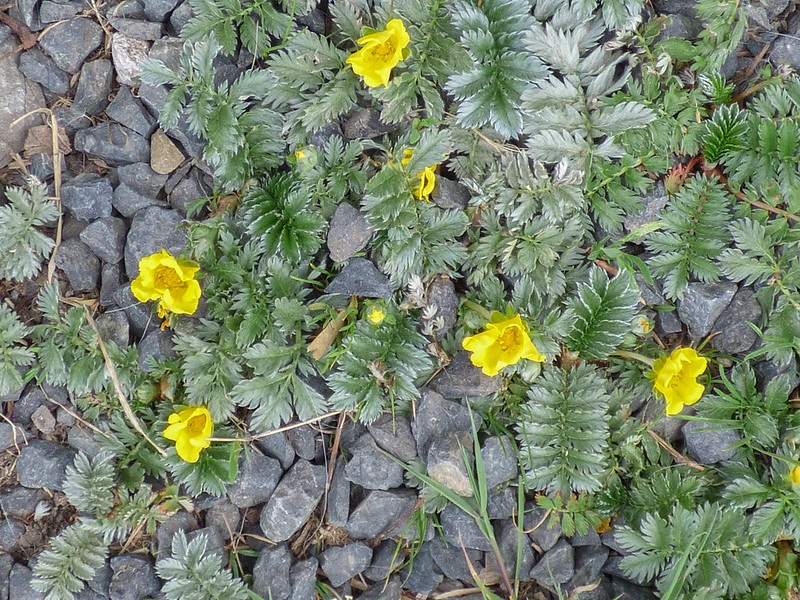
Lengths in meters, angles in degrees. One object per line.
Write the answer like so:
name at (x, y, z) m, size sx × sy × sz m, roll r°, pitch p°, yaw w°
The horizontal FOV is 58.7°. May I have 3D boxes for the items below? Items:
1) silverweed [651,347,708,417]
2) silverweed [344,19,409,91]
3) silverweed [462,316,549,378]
silverweed at (1.320, 0.397, 3.511) m, size 0.262 × 0.336 × 0.132 m, roll 6°, pitch 17°, yaw -25°
silverweed at (-0.100, -1.202, 3.473) m, size 0.214 × 0.313 × 0.262 m, roll 34°, pitch -2°, yaw 2°
silverweed at (0.511, 0.180, 3.431) m, size 0.324 × 0.155 × 0.387 m, roll -9°, pitch 22°, yaw -38°
